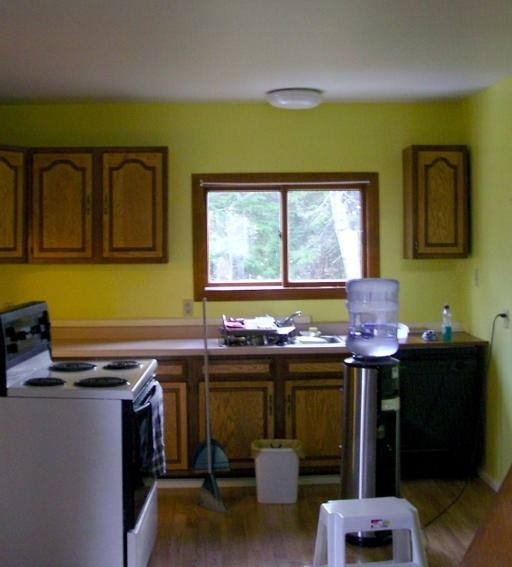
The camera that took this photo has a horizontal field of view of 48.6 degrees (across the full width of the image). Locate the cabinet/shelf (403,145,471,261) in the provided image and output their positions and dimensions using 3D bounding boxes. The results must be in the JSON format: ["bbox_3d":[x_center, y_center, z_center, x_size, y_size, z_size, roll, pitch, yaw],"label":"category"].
[{"bbox_3d":[1.219,-0.543,3.809,0.390,0.769,0.254,-2,4,2],"label":"cabinet/shelf"}]

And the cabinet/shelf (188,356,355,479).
[{"bbox_3d":[0.061,0.767,3.362,0.760,0.715,0.299,-1,0,-4],"label":"cabinet/shelf"}]

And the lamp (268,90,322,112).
[{"bbox_3d":[0.246,-1.156,3.535,0.366,0.097,0.234,-1,4,1],"label":"lamp"}]

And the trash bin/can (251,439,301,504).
[{"bbox_3d":[0.117,1.064,3.379,0.372,0.402,0.285,0,2,2],"label":"trash bin/can"}]

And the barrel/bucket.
[{"bbox_3d":[0.631,0.170,3.092,0.281,0.371,0.634,0,4,13],"label":"barrel/bucket"}]
